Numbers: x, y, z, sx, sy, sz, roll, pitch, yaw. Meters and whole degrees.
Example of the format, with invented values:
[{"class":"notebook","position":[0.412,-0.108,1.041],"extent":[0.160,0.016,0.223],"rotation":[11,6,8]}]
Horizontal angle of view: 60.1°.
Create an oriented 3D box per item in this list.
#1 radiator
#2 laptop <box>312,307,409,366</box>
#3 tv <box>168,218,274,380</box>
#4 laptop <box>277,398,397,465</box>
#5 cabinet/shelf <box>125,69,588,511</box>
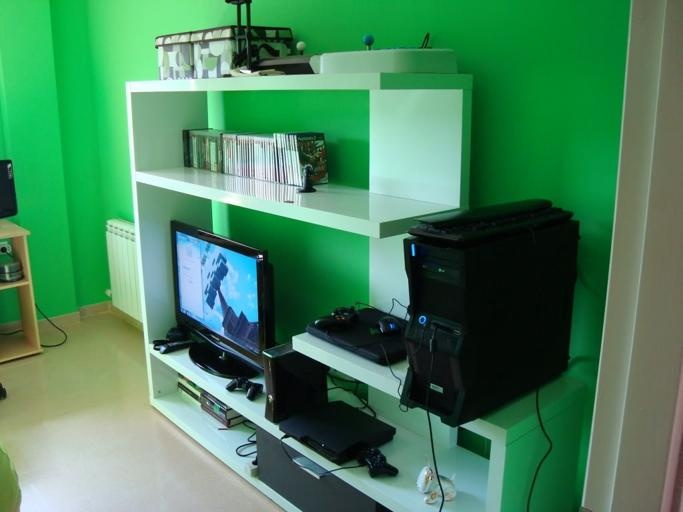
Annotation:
[{"class":"radiator","position":[-1.568,0.077,4.212],"extent":[0.072,0.580,0.652],"rotation":[-11,23,-37]},{"class":"laptop","position":[0.129,0.268,2.261],"extent":[0.352,0.080,0.427],"rotation":[-19,23,-42]},{"class":"tv","position":[-0.600,0.224,2.940],"extent":[0.228,0.588,0.756],"rotation":[-11,18,-40]},{"class":"laptop","position":[-0.029,0.704,2.330],"extent":[0.252,0.067,0.282],"rotation":[-16,19,-39]},{"class":"cabinet/shelf","position":[0.055,0.135,2.303],"extent":[0.496,1.535,1.796],"rotation":[-11,16,-39]}]
